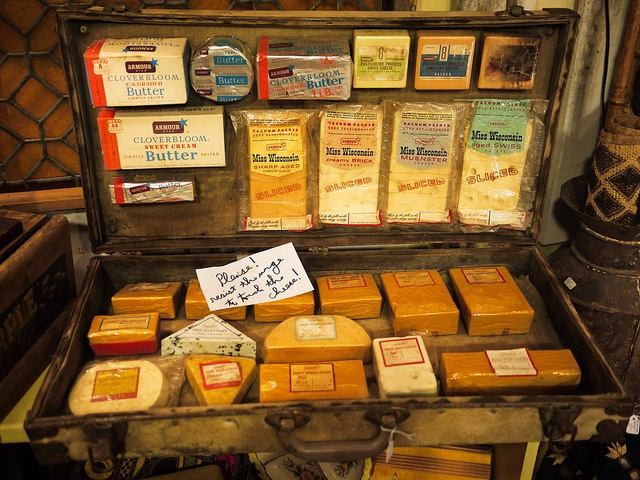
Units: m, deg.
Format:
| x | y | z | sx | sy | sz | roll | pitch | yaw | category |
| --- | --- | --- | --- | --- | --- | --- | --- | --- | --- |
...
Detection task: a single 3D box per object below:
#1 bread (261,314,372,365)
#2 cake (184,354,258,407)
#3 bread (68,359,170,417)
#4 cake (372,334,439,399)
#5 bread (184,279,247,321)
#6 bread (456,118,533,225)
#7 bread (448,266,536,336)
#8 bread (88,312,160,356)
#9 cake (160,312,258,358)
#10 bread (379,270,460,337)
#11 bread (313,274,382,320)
| x | y | z | sx | sy | sz | roll | pitch | yaw | category |
| --- | --- | --- | --- | --- | --- | --- | --- | --- | --- |
| -0.005 | 0.361 | 1.690 | 0.372 | 0.113 | 0.150 | -2 | 28 | 0 | bread |
| -0.338 | 0.470 | 1.564 | 0.239 | 0.097 | 0.195 | -1 | 28 | 1 | cake |
| -0.649 | 0.480 | 1.539 | 0.303 | 0.075 | 0.177 | -3 | 28 | -1 | bread |
| 0.276 | 0.430 | 1.571 | 0.176 | 0.108 | 0.218 | -4 | 28 | -4 | cake |
| -0.415 | 0.239 | 1.824 | 0.135 | 0.082 | 0.185 | 1 | 12 | 3 | bread |
| 0.670 | -0.260 | 1.797 | 0.250 | 0.380 | 0.117 | 5 | 11 | 7 | bread |
| 0.656 | 0.203 | 1.804 | 0.193 | 0.083 | 0.261 | 1 | 31 | -1 | bread |
| -0.692 | 0.336 | 1.674 | 0.241 | 0.113 | 0.138 | 1 | 49 | -2 | bread |
| -0.387 | 0.355 | 1.765 | 0.363 | 0.074 | 0.360 | 1 | 11 | -12 | cake |
| 0.378 | 0.238 | 1.779 | 0.203 | 0.092 | 0.265 | -5 | 34 | -4 | bread |
| 0.104 | 0.216 | 1.891 | 0.257 | 0.111 | 0.191 | -7 | 37 | -13 | bread |
